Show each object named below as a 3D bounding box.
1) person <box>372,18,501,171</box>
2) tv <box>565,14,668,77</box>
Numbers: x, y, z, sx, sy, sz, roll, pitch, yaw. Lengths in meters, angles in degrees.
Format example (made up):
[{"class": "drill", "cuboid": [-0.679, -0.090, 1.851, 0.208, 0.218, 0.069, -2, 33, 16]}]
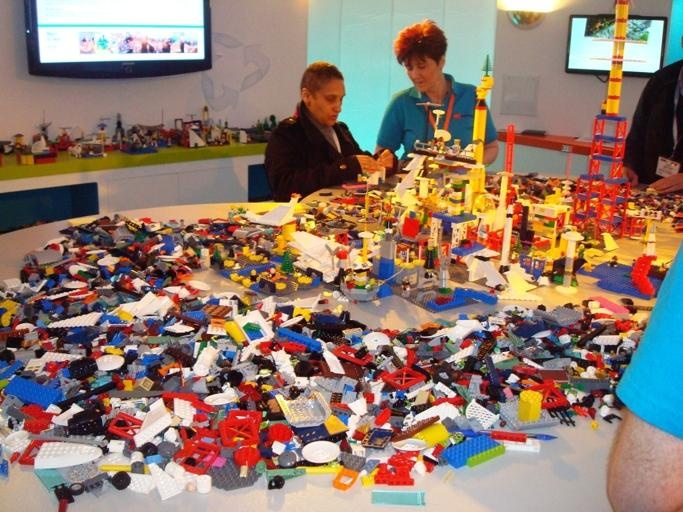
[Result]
[{"class": "person", "cuboid": [0.692, -1.063, 3.804, 0.984, 1.132, 0.728, -1, 23, 15]}, {"class": "tv", "cuboid": [2.770, -2.116, 5.090, 1.056, 0.593, 0.043, 1, 3, -4]}]
